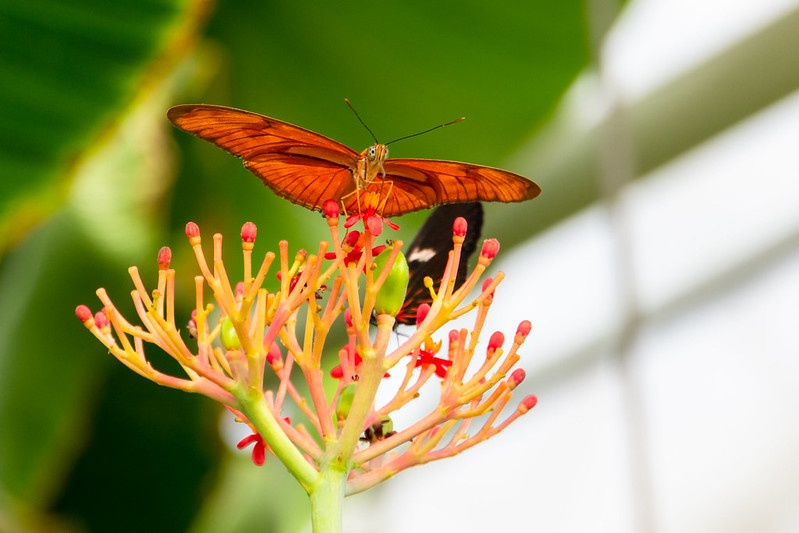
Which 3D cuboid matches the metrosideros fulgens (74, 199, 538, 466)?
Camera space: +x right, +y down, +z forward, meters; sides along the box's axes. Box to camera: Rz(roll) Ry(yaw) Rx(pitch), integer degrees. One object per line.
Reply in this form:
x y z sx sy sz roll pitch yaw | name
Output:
-0.237 0.211 2.251 0.806 0.480 0.936 8 21 3 | metrosideros fulgens

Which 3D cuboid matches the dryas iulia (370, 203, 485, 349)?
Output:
0.085 -0.048 3.100 0.407 0.428 0.299 16 19 -3 | dryas iulia
